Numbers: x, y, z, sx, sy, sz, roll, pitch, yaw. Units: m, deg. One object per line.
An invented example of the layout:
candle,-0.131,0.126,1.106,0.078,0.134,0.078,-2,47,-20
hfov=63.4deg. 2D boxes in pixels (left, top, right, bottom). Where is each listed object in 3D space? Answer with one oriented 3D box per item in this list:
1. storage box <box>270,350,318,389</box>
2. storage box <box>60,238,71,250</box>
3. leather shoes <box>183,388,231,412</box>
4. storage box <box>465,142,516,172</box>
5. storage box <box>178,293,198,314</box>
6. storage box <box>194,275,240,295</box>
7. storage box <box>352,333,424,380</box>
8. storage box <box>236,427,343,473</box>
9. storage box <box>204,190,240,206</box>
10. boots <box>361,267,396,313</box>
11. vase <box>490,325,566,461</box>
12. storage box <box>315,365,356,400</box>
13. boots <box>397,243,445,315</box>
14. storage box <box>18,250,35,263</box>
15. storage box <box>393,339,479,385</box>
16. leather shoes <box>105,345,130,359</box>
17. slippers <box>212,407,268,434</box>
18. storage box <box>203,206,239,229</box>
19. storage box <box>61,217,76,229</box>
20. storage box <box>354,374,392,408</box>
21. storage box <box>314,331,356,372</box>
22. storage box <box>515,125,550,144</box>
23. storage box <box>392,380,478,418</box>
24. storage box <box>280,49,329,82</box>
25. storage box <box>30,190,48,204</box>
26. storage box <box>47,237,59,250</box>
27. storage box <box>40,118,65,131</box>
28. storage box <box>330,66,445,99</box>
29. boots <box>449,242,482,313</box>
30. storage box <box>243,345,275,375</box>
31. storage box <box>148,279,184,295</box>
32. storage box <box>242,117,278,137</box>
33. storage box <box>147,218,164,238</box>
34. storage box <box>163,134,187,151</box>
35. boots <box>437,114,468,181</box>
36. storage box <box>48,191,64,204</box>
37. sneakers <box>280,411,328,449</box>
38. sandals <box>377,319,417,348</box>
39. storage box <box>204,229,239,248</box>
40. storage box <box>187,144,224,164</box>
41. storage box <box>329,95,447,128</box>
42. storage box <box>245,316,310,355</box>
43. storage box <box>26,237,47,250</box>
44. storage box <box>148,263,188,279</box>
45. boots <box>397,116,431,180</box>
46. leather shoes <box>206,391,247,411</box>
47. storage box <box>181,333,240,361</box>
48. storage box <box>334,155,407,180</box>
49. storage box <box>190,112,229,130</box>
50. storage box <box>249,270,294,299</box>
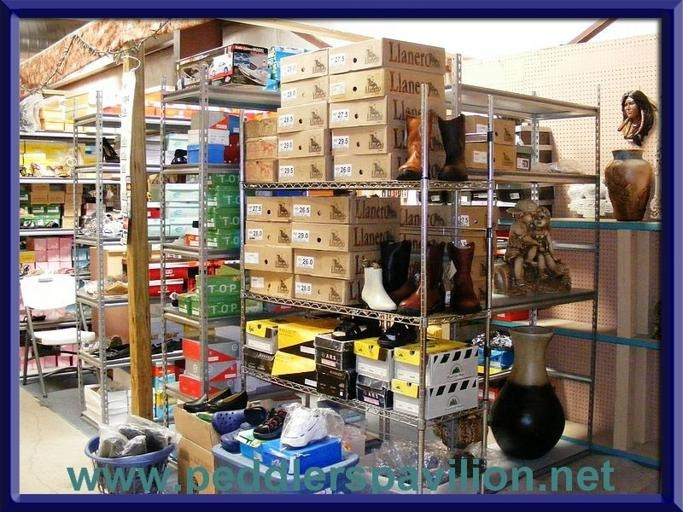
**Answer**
storage box,-0.297,0.716,3.510,0.310,0.190,0.070,6,1,44
storage box,-3.370,-0.153,6.687,0.044,0.111,0.141,6,8,42
leather shoes,-0.853,0.905,3.536,0.113,0.091,0.299,-12,-4,41
storage box,0.921,-0.602,3.369,0.096,0.188,0.526,1,3,41
storage box,-1.107,0.347,3.962,0.153,0.089,0.158,10,10,42
storage box,-0.859,0.201,3.932,0.225,0.099,0.156,-1,4,-38
storage box,0.196,0.567,3.144,0.233,0.130,0.223,1,1,-42
storage box,-0.217,1.015,2.855,0.219,0.071,0.320,-5,6,-44
storage box,-0.843,-0.395,3.958,0.147,0.082,0.140,0,2,-31
boots,0.205,0.184,3.154,0.164,0.222,0.311,-6,12,-20
vase,1.250,0.944,3.722,0.484,0.937,0.255,-1,3,13
storage box,-0.031,0.740,3.297,0.172,0.183,0.285,0,1,-41
boots,0.432,0.114,3.045,0.208,0.384,0.268,0,3,26
storage box,-3.415,0.006,5.946,0.159,0.101,0.082,-2,8,-39
storage box,0.492,0.583,3.057,0.352,0.139,0.238,-2,2,-42
leather shoes,-1.875,0.804,4.648,0.137,0.071,0.232,-4,-2,24
slippers,-0.606,0.931,3.183,0.270,0.097,0.149,-1,5,-31
storage box,-0.843,-0.278,3.938,0.171,0.098,0.172,5,6,32
storage box,-3.208,-0.390,6.422,0.203,0.180,0.201,-3,-2,-28
storage box,0.183,0.754,3.156,0.162,0.156,0.239,0,1,-40
storage box,-0.047,0.567,3.315,0.210,0.126,0.213,4,3,35
storage box,1.569,-0.982,4.532,0.228,0.128,0.218,-5,8,-42
storage box,0.482,0.771,3.071,0.331,0.110,0.242,0,0,-40
storage box,-0.239,-1.175,3.439,0.238,0.136,0.315,-6,8,-44
storage box,-3.581,-0.682,6.498,0.151,0.136,0.158,9,10,43
storage box,-3.487,-0.151,6.625,0.133,0.127,0.143,9,11,42
storage box,-3.436,-1.552,6.539,0.219,0.171,0.140,-2,3,-12
storage box,0.262,-0.980,3.175,0.677,0.177,0.266,-1,3,-1
boots,0.714,0.123,3.175,0.186,0.379,0.419,-3,16,1
storage box,-0.579,0.707,3.764,0.150,0.168,0.263,-3,11,-45
storage box,-1.516,0.261,4.740,0.196,0.086,0.189,-1,3,-40
storage box,-0.555,-0.875,3.764,0.382,0.145,0.050,1,4,44
storage box,-1.478,-0.217,4.329,0.198,0.178,0.113,0,-1,44
storage box,-1.327,-0.905,4.397,0.245,0.159,0.127,-7,20,-33
boots,0.603,-0.587,3.001,0.157,0.368,0.121,-1,3,4
storage box,-3.436,-0.689,6.607,0.153,0.109,0.150,2,1,40
sneakers,-0.207,0.879,2.860,0.154,0.086,0.214,13,31,29
sandals,0.315,0.454,3.197,0.096,0.108,0.275,-1,-1,44
storage box,-0.842,-0.123,3.937,0.161,0.089,0.153,-3,7,-37
storage box,-0.969,-0.688,3.899,0.182,0.104,0.177,-2,4,-39
storage box,0.273,-0.821,3.193,0.323,0.081,0.308,6,9,44
storage box,-0.462,0.480,3.677,0.252,0.166,0.335,-2,4,-41
storage box,-3.649,-0.151,6.571,0.169,0.115,0.163,2,0,22
storage box,-1.497,0.097,4.751,0.201,0.088,0.193,-2,5,-41
boots,0.379,-0.578,2.994,0.138,0.353,0.131,0,3,32
leather shoes,-0.711,0.896,3.430,0.247,0.095,0.085,-7,8,-25
storage box,-0.964,0.620,4.037,0.294,0.097,0.209,0,0,-43
storage box,0.142,-0.506,3.197,0.418,0.171,0.113,1,3,34
storage box,-0.963,-0.962,3.932,0.175,0.101,0.180,8,10,43
storage box,-0.468,0.181,3.677,0.176,0.143,0.313,3,0,-44
